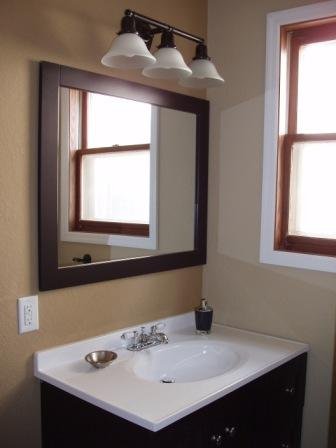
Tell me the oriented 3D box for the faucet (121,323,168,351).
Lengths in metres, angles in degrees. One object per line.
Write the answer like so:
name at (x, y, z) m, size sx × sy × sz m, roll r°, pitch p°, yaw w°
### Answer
faucet at (-0.084, 0.430, 1.487) m, size 0.065 × 0.084 × 0.218 m, roll -4°, pitch -5°, yaw 34°

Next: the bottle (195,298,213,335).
bottle at (0.154, 0.401, 1.658) m, size 0.075 × 0.145 × 0.080 m, roll 1°, pitch 5°, yaw 0°

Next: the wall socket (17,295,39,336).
wall socket at (-0.431, 0.282, 1.181) m, size 0.016 × 0.125 × 0.077 m, roll 1°, pitch -1°, yaw 31°

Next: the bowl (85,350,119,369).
bowl at (-0.221, 0.451, 1.256) m, size 0.101 × 0.053 × 0.105 m, roll 2°, pitch -1°, yaw 0°

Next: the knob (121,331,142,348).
knob at (-0.131, 0.438, 1.448) m, size 0.036 × 0.067 × 0.093 m, roll -3°, pitch -10°, yaw 34°
